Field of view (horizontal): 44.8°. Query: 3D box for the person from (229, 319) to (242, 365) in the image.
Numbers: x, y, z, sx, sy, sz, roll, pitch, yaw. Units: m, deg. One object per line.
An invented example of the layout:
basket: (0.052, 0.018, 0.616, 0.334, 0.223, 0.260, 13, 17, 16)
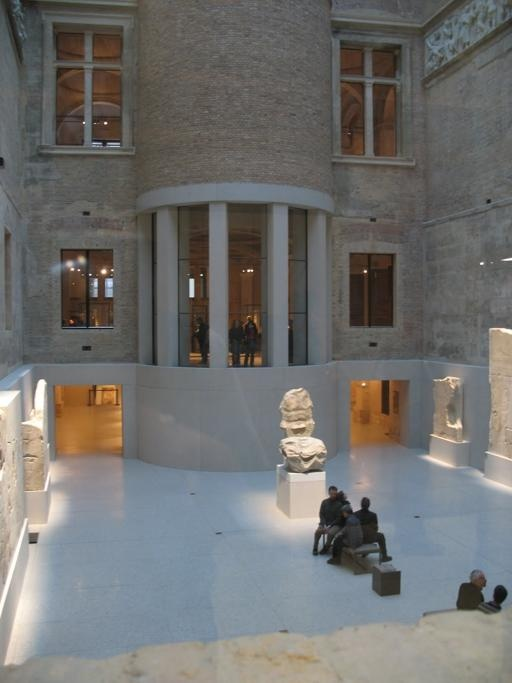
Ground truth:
person: (-0.514, 0.021, 16.205, 0.352, 1.166, 0.118, -1, 2, -6)

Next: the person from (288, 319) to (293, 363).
person: (0.949, 0.005, 16.962, 0.105, 1.185, 0.233, -1, 2, 2)

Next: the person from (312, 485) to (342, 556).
person: (1.116, 2.774, 9.629, 0.329, 1.051, 0.545, 3, -7, 32)

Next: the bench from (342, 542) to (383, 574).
bench: (1.545, 3.114, 8.973, 0.565, 0.289, 0.641, -1, 2, -1)

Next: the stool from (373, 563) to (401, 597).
stool: (1.665, 3.035, 8.007, 0.359, 0.446, 0.312, 0, 5, 5)

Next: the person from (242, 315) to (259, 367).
person: (-0.133, -0.022, 16.226, 0.387, 1.255, 0.094, -1, 2, -17)

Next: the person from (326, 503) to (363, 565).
person: (1.340, 2.820, 9.097, 0.421, 0.876, 0.328, 5, 5, 13)
